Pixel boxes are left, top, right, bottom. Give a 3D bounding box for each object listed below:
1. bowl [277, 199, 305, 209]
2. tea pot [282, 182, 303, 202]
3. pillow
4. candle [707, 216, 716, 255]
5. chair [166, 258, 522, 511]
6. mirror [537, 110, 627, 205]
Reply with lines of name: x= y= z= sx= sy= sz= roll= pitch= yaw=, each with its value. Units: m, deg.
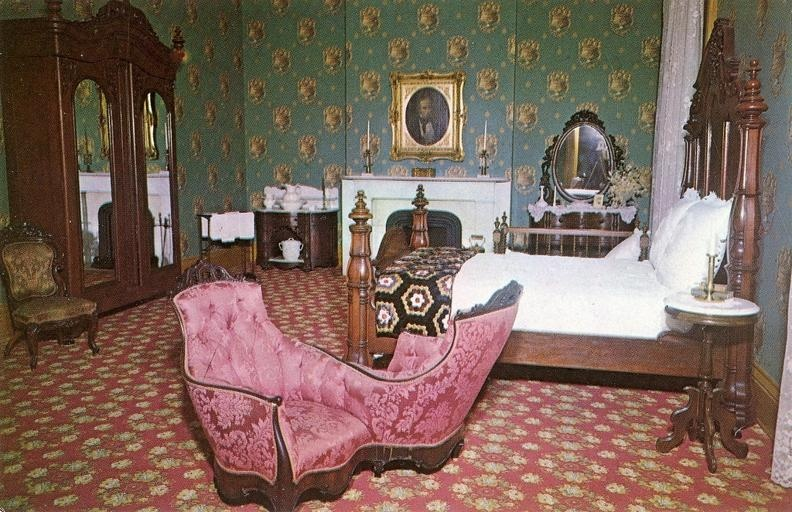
bowl: x=-1.627 y=-0.814 z=9.778 sx=0.359 sy=0.141 sz=0.423 roll=-1 pitch=7 yaw=-5
tea pot: x=-1.636 y=-0.987 z=9.881 sx=0.316 sy=0.291 sz=0.502 roll=-2 pitch=8 yaw=-10
pillow: x=2.409 y=-0.103 z=5.169 sx=0.290 sy=1.160 sz=0.714 roll=14 pitch=-19 yaw=4
candle: x=2.270 y=-0.141 z=4.460 sx=0.049 sy=0.239 sz=0.199 roll=5 pitch=10 yaw=28
chair: x=-0.449 y=0.952 z=4.082 sx=1.912 sy=1.203 sz=1.672 roll=-4 pitch=12 yaw=-31
mirror: x=2.700 y=-1.387 z=8.848 sx=1.232 sy=1.418 sz=0.082 roll=4 pitch=1 yaw=14
